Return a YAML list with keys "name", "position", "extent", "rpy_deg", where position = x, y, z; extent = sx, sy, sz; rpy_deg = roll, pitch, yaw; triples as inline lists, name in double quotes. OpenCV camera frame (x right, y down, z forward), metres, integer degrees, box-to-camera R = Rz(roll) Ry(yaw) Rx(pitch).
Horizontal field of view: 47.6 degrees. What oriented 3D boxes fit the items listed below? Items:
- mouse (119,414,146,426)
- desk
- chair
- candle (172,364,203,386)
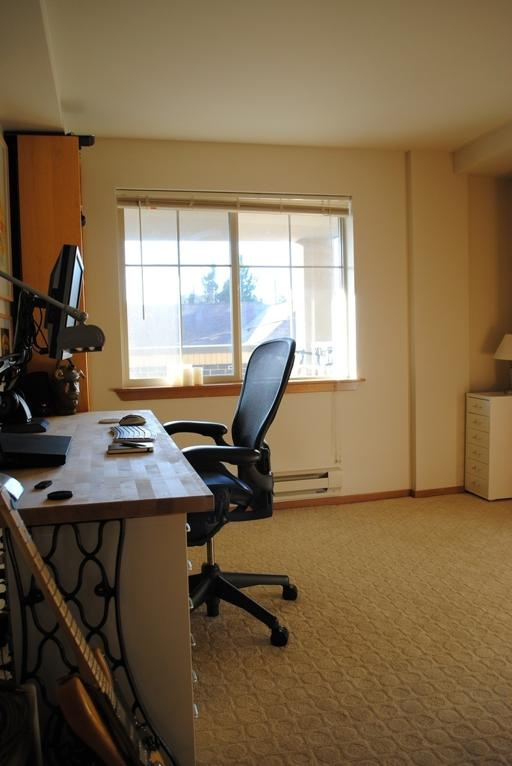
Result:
- name: "mouse"
  position: [-0.411, 0.123, 1.978]
  extent: [0.071, 0.028, 0.040]
  rpy_deg: [-4, 11, -23]
- name: "desk"
  position: [-0.295, 0.404, 1.142]
  extent: [0.253, 0.405, 0.747]
  rpy_deg: [-3, 10, -16]
- name: "chair"
  position: [-0.157, 0.358, 2.141]
  extent: [0.562, 1.002, 0.634]
  rpy_deg: [2, 3, 1]
- name: "candle"
  position: [-0.400, -0.044, 3.442]
  extent: [0.133, 0.089, 0.137]
  rpy_deg: [-2, 3, -16]
